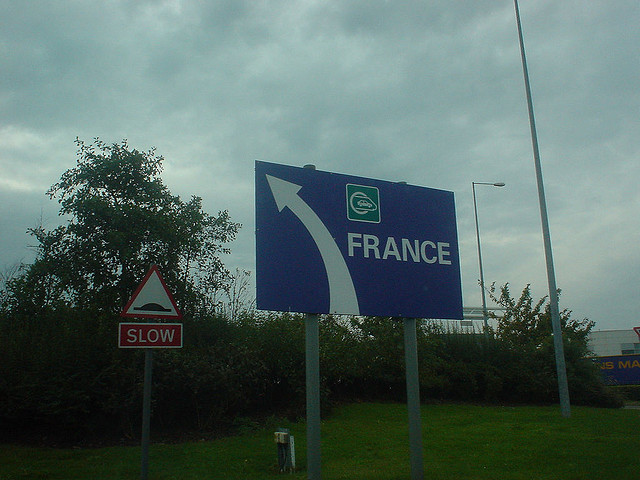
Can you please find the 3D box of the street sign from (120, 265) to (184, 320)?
[{"bbox_3d":[-3.945,1.196,15.675,1.581,1.278,0.110,1,-5,13],"label":"street sign"}]
